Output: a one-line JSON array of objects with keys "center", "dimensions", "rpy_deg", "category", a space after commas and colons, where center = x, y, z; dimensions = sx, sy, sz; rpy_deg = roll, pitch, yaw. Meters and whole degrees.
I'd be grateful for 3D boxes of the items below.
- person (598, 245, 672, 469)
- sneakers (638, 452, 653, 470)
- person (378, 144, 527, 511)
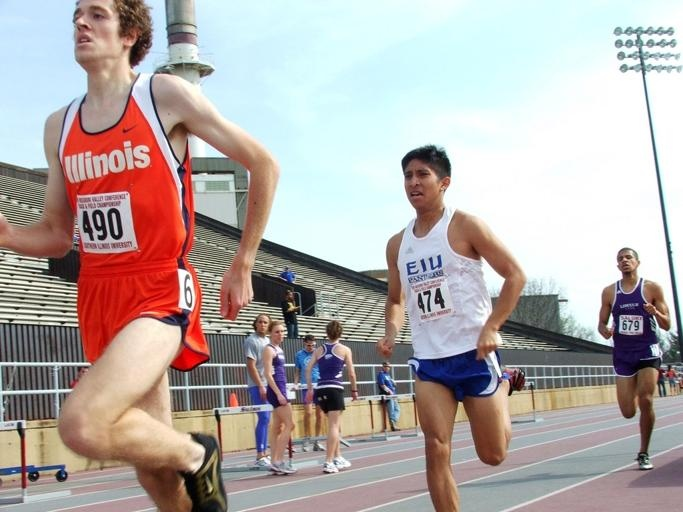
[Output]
[{"center": [3.959, 1.371, 6.863], "dimensions": [0.856, 2.956, 1.074], "rpy_deg": [-8, -6, 34], "category": "person"}, {"center": [3.882, 2.631, 6.579], "dimensions": [0.126, 0.165, 0.396], "rpy_deg": [-4, -17, 13], "category": "sneakers"}, {"center": [0.770, 0.507, 3.728], "dimensions": [0.936, 2.634, 0.952], "rpy_deg": [-3, -6, -18], "category": "person"}]
